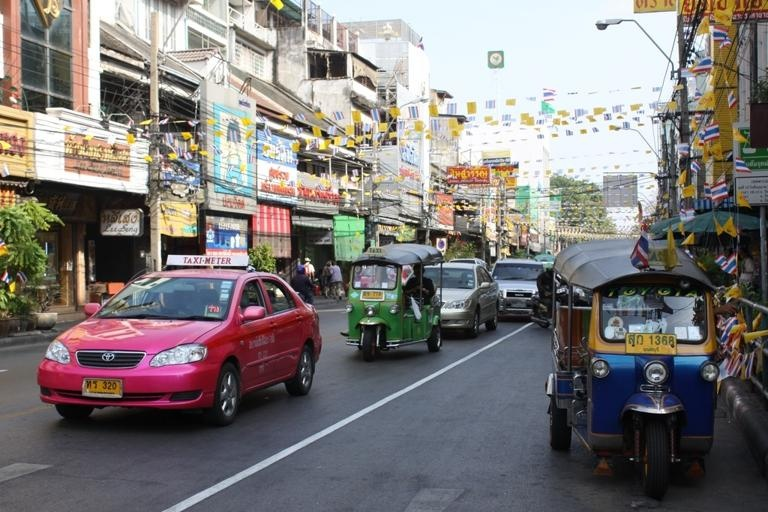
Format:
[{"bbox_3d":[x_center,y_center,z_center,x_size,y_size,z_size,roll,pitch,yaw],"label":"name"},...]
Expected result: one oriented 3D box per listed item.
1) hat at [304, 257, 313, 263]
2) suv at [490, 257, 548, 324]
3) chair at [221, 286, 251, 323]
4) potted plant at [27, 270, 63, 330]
[{"bbox_3d":[-4.590,0.198,42.137,0.506,0.192,0.519,-1,-2,-24],"label":"hat"},{"bbox_3d":[4.983,1.135,26.518,1.386,1.472,2.711,-1,-8,8],"label":"suv"},{"bbox_3d":[-2.348,0.718,11.069,0.232,0.317,0.518,2,3,6],"label":"chair"},{"bbox_3d":[-11.465,1.623,23.582,1.084,1.665,0.993,-5,-9,43],"label":"potted plant"}]
